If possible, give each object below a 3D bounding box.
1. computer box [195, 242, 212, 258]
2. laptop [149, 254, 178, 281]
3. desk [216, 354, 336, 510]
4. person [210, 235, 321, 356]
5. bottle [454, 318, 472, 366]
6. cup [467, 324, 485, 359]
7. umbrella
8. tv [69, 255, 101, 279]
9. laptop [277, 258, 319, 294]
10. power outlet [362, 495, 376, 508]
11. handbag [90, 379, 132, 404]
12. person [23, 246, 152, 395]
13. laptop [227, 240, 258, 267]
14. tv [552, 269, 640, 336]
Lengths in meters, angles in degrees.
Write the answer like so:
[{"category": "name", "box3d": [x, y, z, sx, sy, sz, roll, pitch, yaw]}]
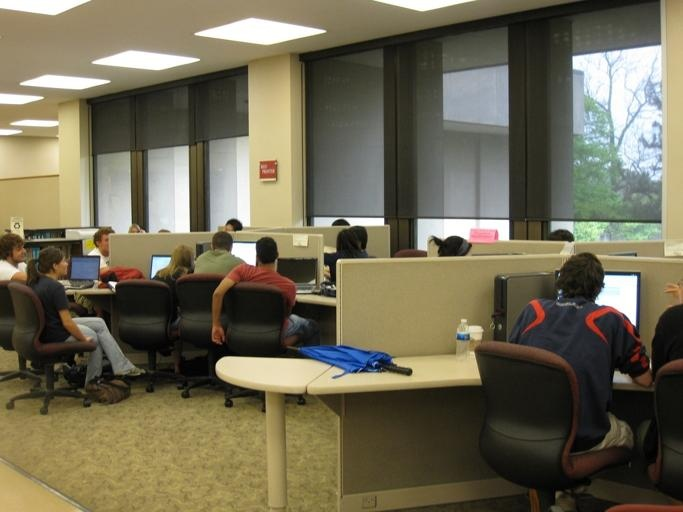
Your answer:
[{"category": "computer box", "box3d": [-1.373, -0.071, 5.977, 0.147, 0.226, 0.119, 3, 2, 39]}, {"category": "laptop", "box3d": [-1.625, 0.109, 5.567, 0.221, 0.238, 0.016, -1, -5, 34]}, {"category": "desk", "box3d": [-0.368, 0.980, 3.296, 0.602, 0.803, 0.478, 1, 8, 12]}, {"category": "person", "box3d": [-0.626, 0.230, 5.002, 0.850, 1.197, 0.819, 3, 4, 19]}, {"category": "bottle", "box3d": [0.691, 0.475, 3.458, 0.073, 0.212, 0.092, 1, 8, 9]}, {"category": "cup", "box3d": [0.761, 0.490, 3.496, 0.155, 0.164, 0.161, 0, 3, 0]}, {"category": "umbrella", "box3d": [0.051, 0.559, 3.308, 0.506, 0.076, 0.224, 9, 14, 31]}, {"category": "tv", "box3d": [-2.601, 0.122, 6.174, 0.383, 0.278, 0.233, 1, -3, -1]}, {"category": "laptop", "box3d": [-0.400, 0.200, 5.432, 0.406, 0.291, 0.346, 4, 20, 5]}, {"category": "power outlet", "box3d": [0.162, 1.410, 3.486, 0.070, 0.076, 0.019, 2, -5, -4]}, {"category": "handbag", "box3d": [-1.921, 1.103, 4.986, 0.203, 0.082, 0.211, 13, 7, 13]}, {"category": "person", "box3d": [-2.086, 0.547, 5.008, 0.817, 1.262, 0.476, -5, 10, -32]}, {"category": "laptop", "box3d": [-0.910, -0.016, 5.570, 0.220, 0.238, 0.015, 1, 1, 25]}, {"category": "tv", "box3d": [1.303, 0.244, 3.107, 0.350, 0.395, 0.030, 1, -1, 34]}]
